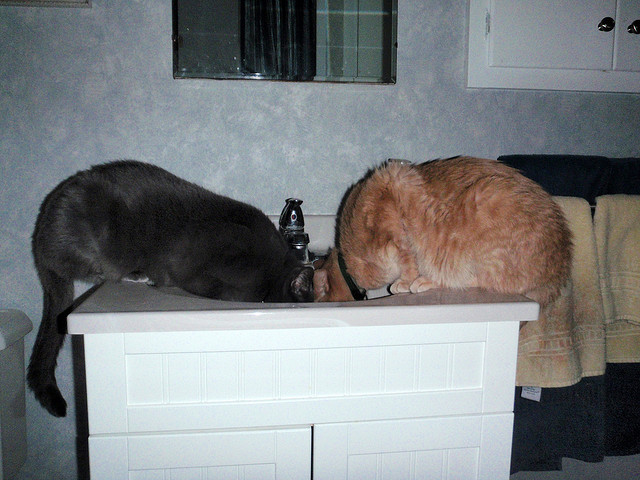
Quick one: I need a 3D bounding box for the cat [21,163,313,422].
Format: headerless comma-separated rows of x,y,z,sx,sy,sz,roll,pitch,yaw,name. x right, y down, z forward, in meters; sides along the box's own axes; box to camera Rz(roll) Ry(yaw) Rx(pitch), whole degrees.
-0.397,0.153,1.825,0.803,0.719,0.267,1,5,13,cat

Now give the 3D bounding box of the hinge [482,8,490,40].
0.461,-0.603,1.874,0.020,0.082,0.006,-1,5,-13,hinge

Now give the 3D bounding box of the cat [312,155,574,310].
0.322,0.006,1.832,0.650,0.500,0.411,1,7,5,cat

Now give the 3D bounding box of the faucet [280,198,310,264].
-0.065,-0.023,1.736,0.070,0.161,0.105,-1,5,-10,faucet
